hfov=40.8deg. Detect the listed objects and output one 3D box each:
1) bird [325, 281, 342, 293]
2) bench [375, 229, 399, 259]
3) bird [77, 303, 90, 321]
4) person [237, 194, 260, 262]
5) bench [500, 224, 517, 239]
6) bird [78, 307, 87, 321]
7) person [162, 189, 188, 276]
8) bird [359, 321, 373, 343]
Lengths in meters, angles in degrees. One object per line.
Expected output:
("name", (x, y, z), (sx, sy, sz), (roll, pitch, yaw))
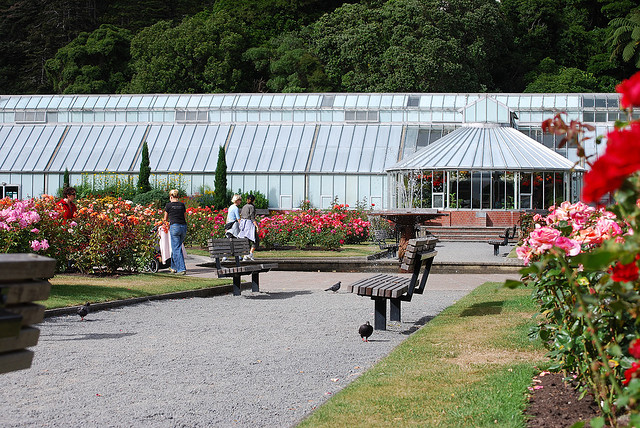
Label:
("bird", (0.248, 1.508, 17.674), (0.360, 0.247, 0.147), (-6, -4, 24))
("bench", (2.139, 1.082, 27.945), (0.614, 0.897, 0.614), (0, 2, 21))
("bird", (-4.242, 1.694, 15.061), (0.199, 0.261, 0.500), (-1, 2, -17))
("person", (-2.027, 0.368, 23.523), (0.659, 1.828, 0.655), (3, 3, -9))
("bench", (6.786, 0.632, 30.524), (0.316, 0.418, 0.420), (15, -16, 39))
("bird", (-4.219, 1.714, 14.944), (0.118, 0.239, 0.246), (-1, 2, -16))
("person", (-3.460, 0.420, 20.050), (0.534, 1.982, 1.506), (-1, 1, -10))
("bird", (0.732, 1.880, 13.786), (0.208, 0.317, 0.290), (-1, 2, -1))
